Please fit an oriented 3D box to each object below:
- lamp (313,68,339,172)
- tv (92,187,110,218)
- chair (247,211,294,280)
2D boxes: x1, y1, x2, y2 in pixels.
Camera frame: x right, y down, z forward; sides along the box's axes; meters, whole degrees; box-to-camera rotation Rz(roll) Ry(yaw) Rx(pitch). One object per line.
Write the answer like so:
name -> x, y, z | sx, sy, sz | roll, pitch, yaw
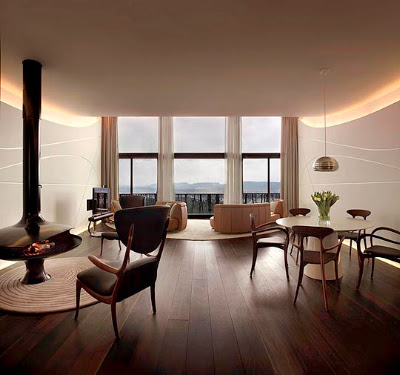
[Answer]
lamp -> 1.868, -0.997, 4.570 | 0.320, 1.511, 0.352 | -2, 5, 6
tv -> -2.210, 0.334, 6.771 | 0.079, 0.654, 0.608 | -2, -4, 18
chair -> 1.023, 0.748, 4.623 | 0.807, 1.328, 0.988 | 0, -3, 7
